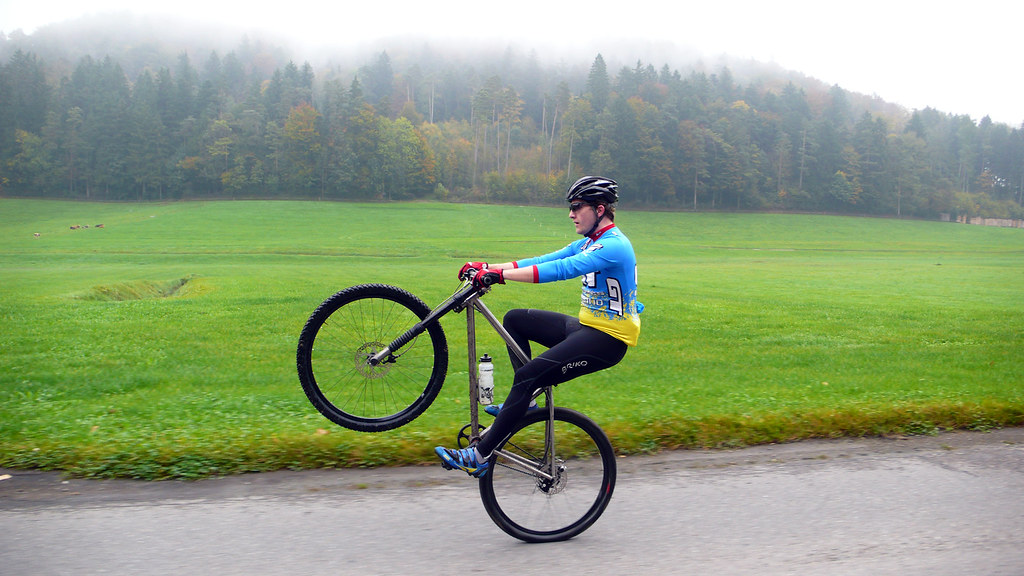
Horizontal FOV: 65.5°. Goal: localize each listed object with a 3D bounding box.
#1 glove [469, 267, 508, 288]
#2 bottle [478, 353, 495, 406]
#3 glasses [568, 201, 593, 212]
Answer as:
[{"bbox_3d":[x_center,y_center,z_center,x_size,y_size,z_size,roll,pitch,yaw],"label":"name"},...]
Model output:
[{"bbox_3d":[-0.472,-0.176,14.222,0.508,0.182,0.387,0,6,34],"label":"glove"},{"bbox_3d":[-0.502,1.674,14.305,0.254,0.922,0.317,0,12,-10],"label":"bottle"},{"bbox_3d":[1.219,-1.438,14.306,0.286,0.082,0.239,10,-3,-5],"label":"glasses"}]
